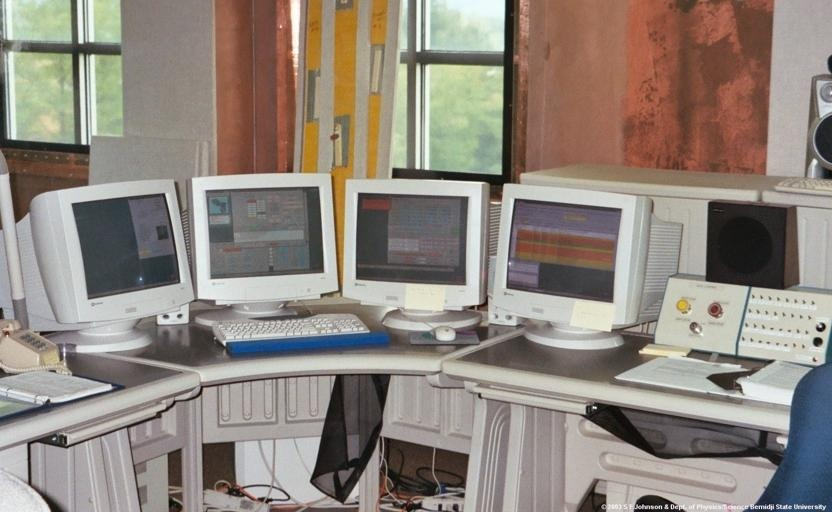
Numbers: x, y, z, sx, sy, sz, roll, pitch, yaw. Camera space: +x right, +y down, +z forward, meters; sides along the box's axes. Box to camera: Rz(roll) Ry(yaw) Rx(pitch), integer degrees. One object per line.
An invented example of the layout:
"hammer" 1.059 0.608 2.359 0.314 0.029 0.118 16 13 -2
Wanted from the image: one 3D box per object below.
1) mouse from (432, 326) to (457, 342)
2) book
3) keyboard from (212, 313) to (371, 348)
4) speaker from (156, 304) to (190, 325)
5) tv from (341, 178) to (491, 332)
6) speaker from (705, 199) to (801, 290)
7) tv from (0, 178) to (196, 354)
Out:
"mouse" 0.112 0.309 3.038 0.059 0.029 0.089 0 3 -8
"book" 1.040 0.427 2.680 0.450 0.054 0.269 5 10 33
"keyboard" -0.507 0.288 3.093 0.602 0.055 0.256 -3 10 -13
"speaker" -1.012 0.243 3.177 0.167 0.079 0.112 1 -3 -17
"tv" -0.010 -0.049 3.213 0.590 0.535 0.172 2 11 16
"speaker" 1.282 -0.041 2.889 0.380 0.333 0.187 2 1 22
"tv" -1.165 -0.007 3.213 0.702 0.722 0.668 6 8 36
